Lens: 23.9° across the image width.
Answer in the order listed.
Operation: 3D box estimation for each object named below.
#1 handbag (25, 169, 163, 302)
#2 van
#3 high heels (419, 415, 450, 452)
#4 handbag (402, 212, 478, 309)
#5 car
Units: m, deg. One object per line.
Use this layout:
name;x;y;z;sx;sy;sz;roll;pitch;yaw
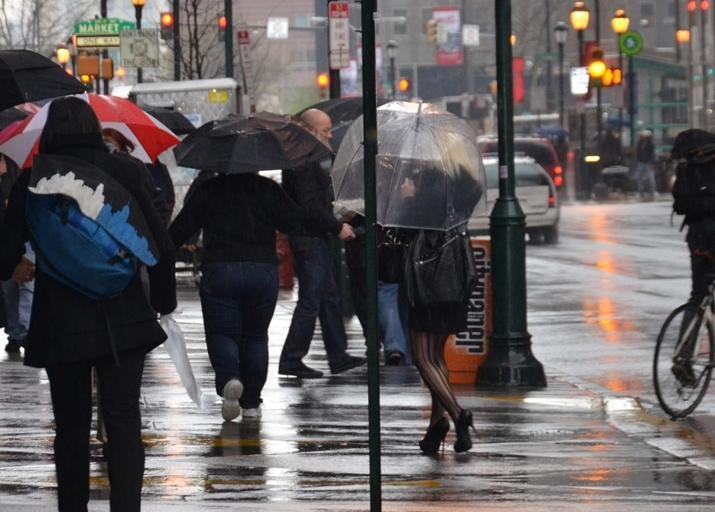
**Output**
handbag;-2.024;-0.173;12.952;0.941;0.996;0.250;-5;6;-9
van;3.856;-2.349;39.704;1.800;1.499;3.024;-1;8;1
high heels;0.675;1.618;15.106;0.161;0.191;0.436;18;-22;-7
handbag;0.742;0.112;15.015;0.686;0.833;0.482;6;17;6
car;2.295;-0.789;24.741;1.353;1.519;2.015;5;15;13
